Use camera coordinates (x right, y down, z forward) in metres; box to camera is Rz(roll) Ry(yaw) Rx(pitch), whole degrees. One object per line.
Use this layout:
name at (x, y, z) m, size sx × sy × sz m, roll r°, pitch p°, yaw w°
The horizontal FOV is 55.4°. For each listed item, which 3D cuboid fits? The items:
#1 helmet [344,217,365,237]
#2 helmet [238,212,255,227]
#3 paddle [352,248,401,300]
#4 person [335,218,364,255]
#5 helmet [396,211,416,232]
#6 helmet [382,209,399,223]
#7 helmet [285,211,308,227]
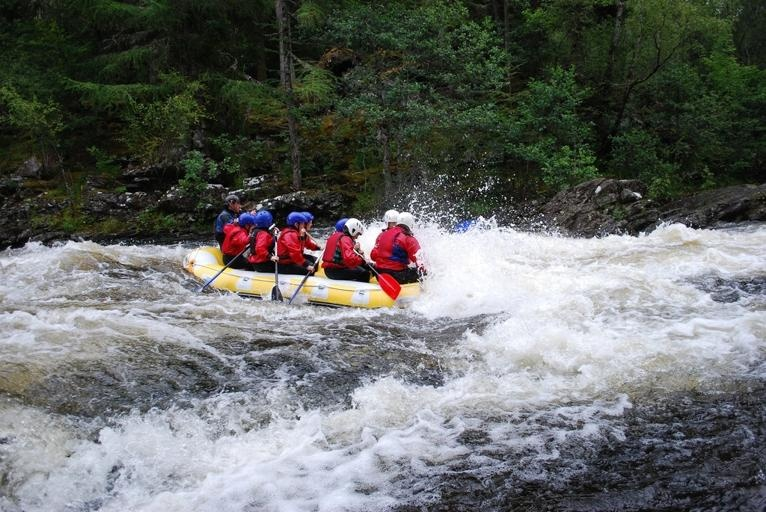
helmet at (-0.812, -0.852, 21.041) m, size 0.553 × 0.438 × 0.395 m, roll 24°, pitch 22°, yaw -11°
helmet at (-4.107, -1.204, 22.182) m, size 0.488 × 0.458 × 0.380 m, roll -5°, pitch 37°, yaw -17°
paddle at (-0.144, 0.504, 20.536) m, size 1.694 × 0.310 × 0.042 m, roll 42°, pitch 2°, yaw 41°
person at (-0.854, -0.706, 21.082) m, size 0.555 × 0.716 × 0.567 m, roll 24°, pitch -11°, yaw 30°
helmet at (0.636, -1.015, 21.043) m, size 0.454 × 0.520 × 0.576 m, roll 10°, pitch -2°, yaw 33°
helmet at (0.253, -1.212, 21.149) m, size 0.360 × 0.405 × 0.425 m, roll 5°, pitch 15°, yaw 0°
helmet at (-2.527, -1.142, 21.463) m, size 0.499 × 0.425 × 0.388 m, roll -11°, pitch 34°, yaw -12°
